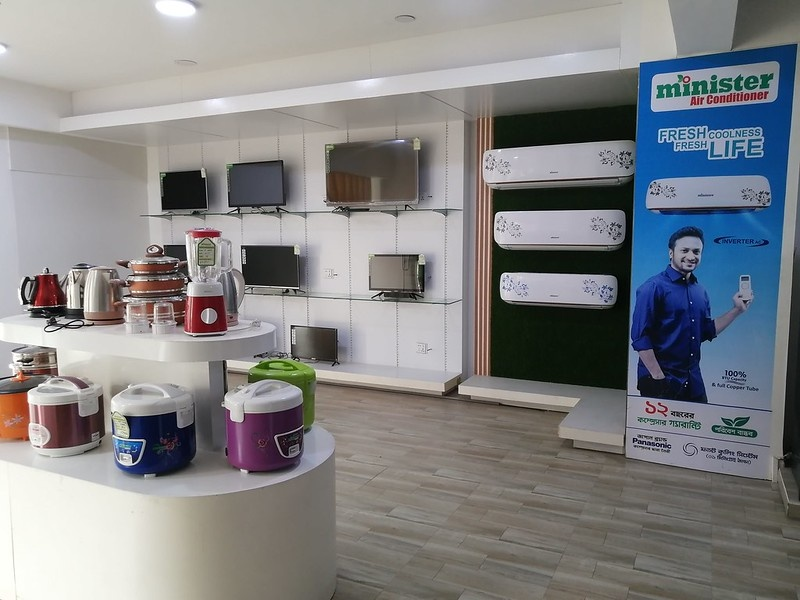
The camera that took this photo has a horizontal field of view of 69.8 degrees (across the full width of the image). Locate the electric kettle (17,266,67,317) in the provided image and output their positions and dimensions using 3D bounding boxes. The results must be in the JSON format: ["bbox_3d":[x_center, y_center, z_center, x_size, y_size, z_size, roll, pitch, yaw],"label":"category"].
[{"bbox_3d":[-1.968,-0.041,3.143,0.172,0.251,0.241,-3,1,26],"label":"electric kettle"}]

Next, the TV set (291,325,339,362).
[{"bbox_3d":[-0.962,0.505,6.467,0.595,0.412,0.158,4,12,21],"label":"TV set"}]

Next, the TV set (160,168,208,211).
[{"bbox_3d":[-2.702,-1.348,7.110,0.071,0.501,0.767,11,17,22],"label":"TV set"}]

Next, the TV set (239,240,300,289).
[{"bbox_3d":[-1.534,-0.388,6.719,0.876,0.515,0.169,5,13,26],"label":"TV set"}]

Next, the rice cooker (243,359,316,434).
[{"bbox_3d":[-0.611,0.518,3.081,0.347,0.337,0.335,0,-6,-28],"label":"rice cooker"}]

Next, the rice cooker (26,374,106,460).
[{"bbox_3d":[-1.723,0.581,2.957,0.343,0.352,0.346,5,10,30],"label":"rice cooker"}]

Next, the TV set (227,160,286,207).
[{"bbox_3d":[-1.678,-1.334,6.638,0.842,0.520,0.173,5,13,25],"label":"TV set"}]

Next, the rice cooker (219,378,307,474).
[{"bbox_3d":[-0.659,0.595,2.773,0.370,0.392,0.399,-5,7,-41],"label":"rice cooker"}]

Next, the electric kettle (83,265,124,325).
[{"bbox_3d":[-1.531,-0.025,2.976,0.184,0.268,0.268,-1,8,5],"label":"electric kettle"}]

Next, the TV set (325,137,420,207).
[{"bbox_3d":[-0.256,-1.323,5.942,0.782,0.470,0.082,2,4,25],"label":"TV set"}]

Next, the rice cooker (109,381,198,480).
[{"bbox_3d":[-1.193,0.606,2.777,0.379,0.399,0.374,-2,6,-17],"label":"rice cooker"}]
